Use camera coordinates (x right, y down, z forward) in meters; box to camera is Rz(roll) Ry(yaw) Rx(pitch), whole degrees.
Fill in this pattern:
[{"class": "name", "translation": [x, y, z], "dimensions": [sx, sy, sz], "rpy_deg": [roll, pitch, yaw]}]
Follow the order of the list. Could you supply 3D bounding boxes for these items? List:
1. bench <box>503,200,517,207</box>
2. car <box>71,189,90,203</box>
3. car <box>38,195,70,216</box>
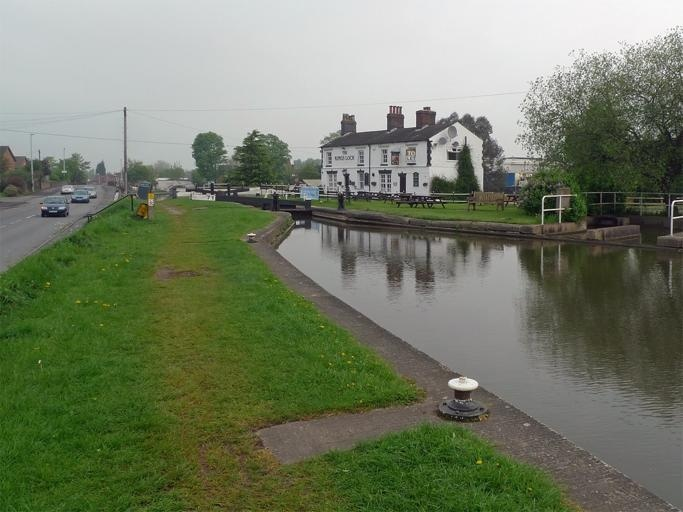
[{"class": "bench", "translation": [10.597, -3.344, 42.869], "dimensions": [0.752, 0.288, 1.143], "rpy_deg": [-2, 7, 6]}, {"class": "car", "translation": [-21.932, -4.922, 56.559], "dimensions": [1.263, 0.957, 1.899], "rpy_deg": [-9, 18, -37]}, {"class": "car", "translation": [-17.202, -3.108, 40.666], "dimensions": [1.361, 1.219, 2.394], "rpy_deg": [-2, 0, -19]}]
